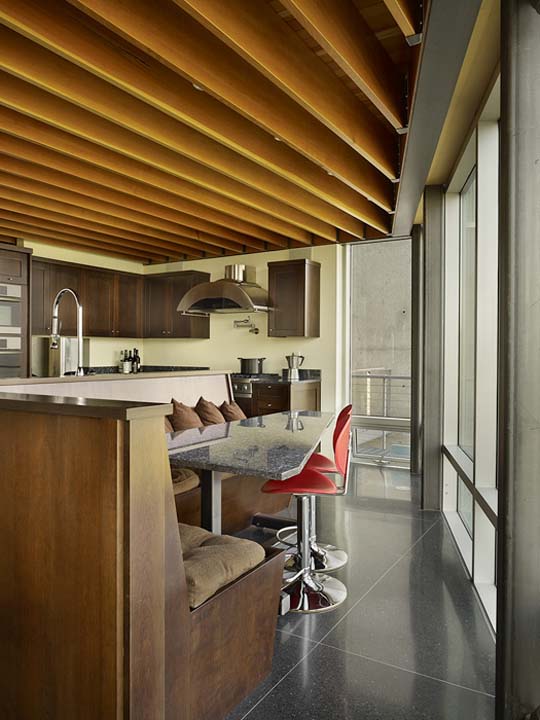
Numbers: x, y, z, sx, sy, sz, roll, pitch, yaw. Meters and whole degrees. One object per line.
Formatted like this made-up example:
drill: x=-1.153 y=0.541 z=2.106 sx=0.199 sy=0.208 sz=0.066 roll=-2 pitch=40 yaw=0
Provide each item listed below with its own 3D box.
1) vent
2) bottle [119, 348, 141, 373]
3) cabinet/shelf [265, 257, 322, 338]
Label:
vent: x=-0.454 y=-0.796 z=5.903 sx=1.091 sy=0.372 sz=0.724 roll=1 pitch=0 yaw=30
bottle: x=-1.873 y=0.000 z=7.002 sx=0.243 sy=0.319 sz=0.599 roll=0 pitch=0 yaw=-3
cabinet/shelf: x=0.261 y=-0.644 z=5.703 sx=0.570 sy=0.642 sz=0.392 roll=0 pitch=0 yaw=0
